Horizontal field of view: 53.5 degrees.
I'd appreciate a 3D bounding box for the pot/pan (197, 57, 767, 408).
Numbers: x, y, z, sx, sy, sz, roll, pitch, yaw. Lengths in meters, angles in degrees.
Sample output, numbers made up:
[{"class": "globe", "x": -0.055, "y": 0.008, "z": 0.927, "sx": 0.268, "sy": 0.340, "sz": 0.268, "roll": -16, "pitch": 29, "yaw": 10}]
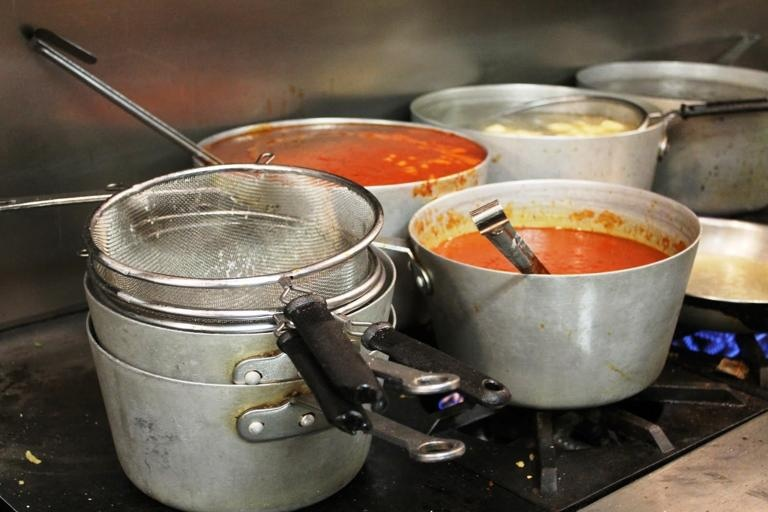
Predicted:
[{"class": "pot/pan", "x": 0.204, "y": -0.131, "z": 1.769, "sx": 1.188, "sy": 0.332, "sz": 0.627, "roll": -3, "pitch": 18, "yaw": -10}]
